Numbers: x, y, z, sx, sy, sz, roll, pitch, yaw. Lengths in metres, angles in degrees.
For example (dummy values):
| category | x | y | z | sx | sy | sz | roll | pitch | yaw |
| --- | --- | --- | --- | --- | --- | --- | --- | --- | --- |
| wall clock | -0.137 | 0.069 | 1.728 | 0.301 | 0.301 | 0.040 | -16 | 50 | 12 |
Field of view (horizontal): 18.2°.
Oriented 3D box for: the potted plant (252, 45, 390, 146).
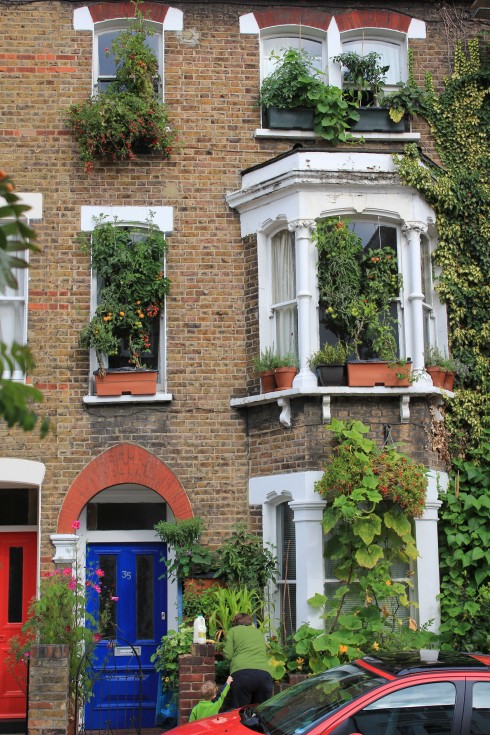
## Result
| category | x | y | z | sx | sy | sz | roll | pitch | yaw |
| --- | --- | --- | --- | --- | --- | --- | --- | --- | --- |
| potted plant | 1.000 | -3.371 | 18.960 | 1.605 | 1.249 | 0.556 | 1 | -9 | -18 |

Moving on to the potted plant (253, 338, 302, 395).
| category | x | y | z | sx | sy | sz | roll | pitch | yaw |
| --- | --- | --- | --- | --- | --- | --- | --- | --- | --- |
| potted plant | 0.380 | 0.029 | 17.787 | 0.397 | 0.614 | 0.547 | 5 | -11 | -18 |

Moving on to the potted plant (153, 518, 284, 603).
| category | x | y | z | sx | sy | sz | roll | pitch | yaw |
| --- | --- | --- | --- | --- | --- | --- | --- | --- | --- |
| potted plant | -0.261 | 2.203 | 17.459 | 1.213 | 0.924 | 0.893 | 2 | -5 | -5 |

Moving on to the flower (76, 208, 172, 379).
| category | x | y | z | sx | sy | sz | roll | pitch | yaw |
| --- | --- | --- | --- | --- | --- | --- | --- | --- | --- |
| flower | -1.430 | -0.897 | 18.374 | 1.044 | 2.022 | 0.678 | 0 | -9 | -13 |

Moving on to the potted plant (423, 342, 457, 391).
| category | x | y | z | sx | sy | sz | roll | pitch | yaw |
| --- | --- | --- | --- | --- | --- | --- | --- | --- | --- |
| potted plant | 2.322 | 0.062 | 18.182 | 0.406 | 0.685 | 0.567 | -3 | -8 | 24 |

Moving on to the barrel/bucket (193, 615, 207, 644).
| category | x | y | z | sx | sy | sz | roll | pitch | yaw |
| --- | --- | --- | --- | --- | --- | --- | --- | --- | --- |
| barrel/bucket | -0.482 | 2.805 | 16.313 | 0.148 | 0.297 | 0.352 | -2 | -9 | -1 |

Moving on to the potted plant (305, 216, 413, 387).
| category | x | y | z | sx | sy | sz | roll | pitch | yaw |
| --- | --- | --- | --- | --- | --- | --- | --- | --- | --- |
| potted plant | 1.335 | -0.764 | 17.821 | 1.032 | 2.107 | 0.782 | -2 | -9 | -1 |
